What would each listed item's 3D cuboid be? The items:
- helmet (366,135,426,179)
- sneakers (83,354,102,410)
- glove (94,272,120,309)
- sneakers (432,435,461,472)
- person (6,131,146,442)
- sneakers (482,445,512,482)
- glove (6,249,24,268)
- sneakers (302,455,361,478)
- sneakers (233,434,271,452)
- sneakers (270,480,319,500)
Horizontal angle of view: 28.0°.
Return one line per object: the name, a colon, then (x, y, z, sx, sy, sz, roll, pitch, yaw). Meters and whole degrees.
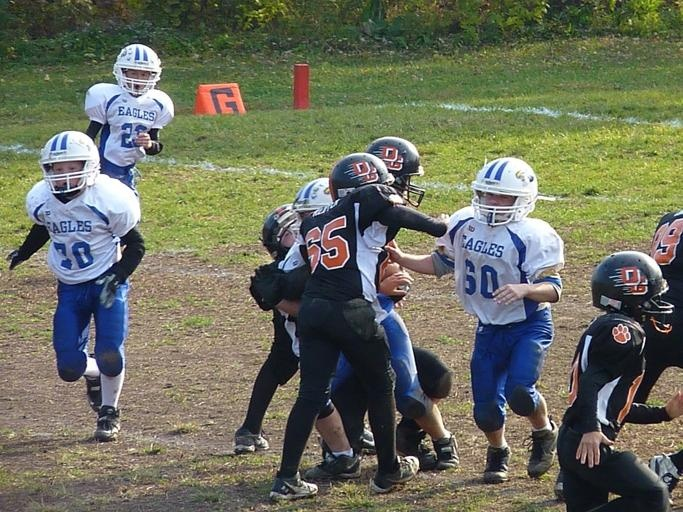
helmet: (0.550, -0.983, 14.295, 0.710, 0.442, 0.470, 13, -2, -16)
sneakers: (-2.755, 1.391, 14.744, 0.234, 0.554, 0.289, -4, 7, -20)
glove: (-2.455, 0.361, 14.345, 0.227, 0.355, 0.226, -6, 15, -22)
sneakers: (1.103, 2.026, 13.921, 0.181, 0.446, 0.209, -14, -37, 21)
person: (-2.791, 0.292, 14.518, 1.194, 3.174, 1.109, 4, 15, 19)
sneakers: (1.602, 2.118, 13.735, 0.185, 0.166, 0.471, 1, 19, 10)
glove: (-3.584, 0.035, 14.932, 0.284, 0.217, 0.116, -3, -9, 2)
sneakers: (-0.042, 2.121, 13.818, 0.689, 0.248, 0.202, 0, 16, -5)
sneakers: (-0.921, 1.948, 14.151, 0.389, 0.145, 0.161, 0, -1, -41)
sneakers: (-0.457, 2.305, 13.333, 0.527, 0.187, 0.177, -1, 5, -15)
